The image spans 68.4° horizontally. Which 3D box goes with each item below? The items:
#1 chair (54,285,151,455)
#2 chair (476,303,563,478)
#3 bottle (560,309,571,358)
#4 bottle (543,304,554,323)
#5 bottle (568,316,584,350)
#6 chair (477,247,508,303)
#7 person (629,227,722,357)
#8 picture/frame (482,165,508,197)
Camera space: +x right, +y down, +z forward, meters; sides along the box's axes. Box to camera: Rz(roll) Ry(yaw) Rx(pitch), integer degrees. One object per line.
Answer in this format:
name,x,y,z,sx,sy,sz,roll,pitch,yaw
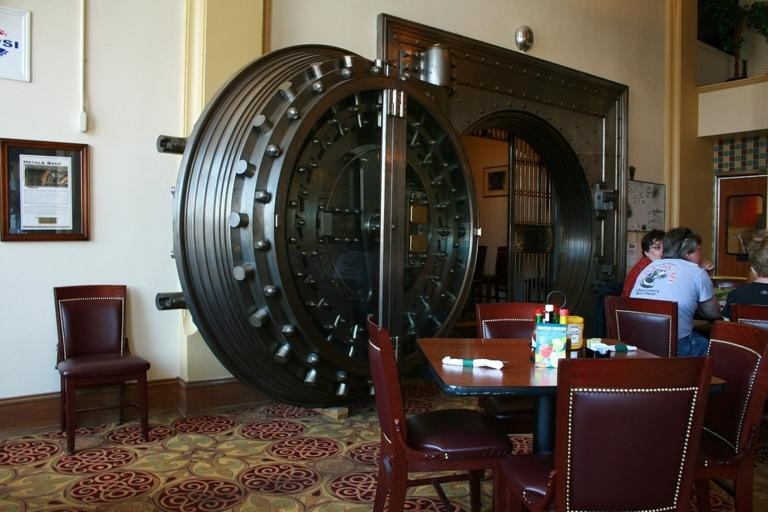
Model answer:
chair,-2.333,0.867,4.742,0.717,1.193,0.744,-7,12,-32
chair,0.939,0.829,4.200,0.492,0.693,0.787,-3,-33,1
bottle,1.103,0.446,3.468,0.078,0.271,0.281,3,11,18
bottle,0.996,0.332,3.444,0.061,0.088,0.187,3,11,18
bottle,1.212,0.490,3.600,0.118,0.190,0.124,2,-3,0
chair,1.862,0.340,9.909,0.504,0.995,0.548,3,-2,-31
person,2.474,0.456,4.870,0.722,1.405,0.624,3,-1,-26
picture/frame,2.081,-1.417,10.590,0.029,0.869,0.793,-1,2,-32
